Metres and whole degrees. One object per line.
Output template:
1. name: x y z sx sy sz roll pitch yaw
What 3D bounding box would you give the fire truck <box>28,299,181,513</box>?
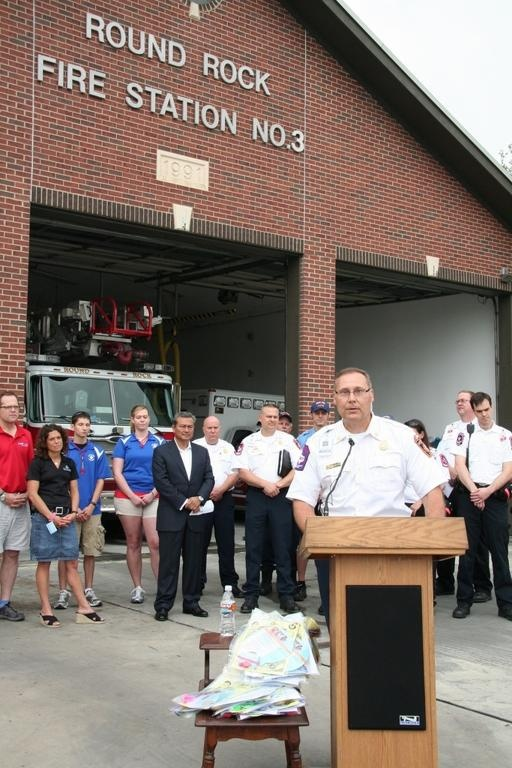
1. fire truck: -3.580 0.234 13.409 2.690 3.520 5.454 2 2 -34

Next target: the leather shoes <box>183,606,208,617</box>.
1. leather shoes: -0.524 1.966 6.300 0.242 0.104 0.083 -3 -4 42

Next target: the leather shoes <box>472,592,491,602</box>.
1. leather shoes: 2.251 2.132 7.178 0.106 0.099 0.274 -4 -9 32

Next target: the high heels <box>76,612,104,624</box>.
1. high heels: -1.354 1.889 5.837 0.225 0.089 0.082 1 -4 -1

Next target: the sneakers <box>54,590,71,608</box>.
1. sneakers: -1.748 1.956 6.544 0.097 0.122 0.269 0 -10 -1

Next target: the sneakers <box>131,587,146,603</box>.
1. sneakers: -1.118 1.990 6.788 0.078 0.090 0.212 1 -10 -2

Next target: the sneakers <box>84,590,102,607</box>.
1. sneakers: -1.494 1.938 6.539 0.090 0.119 0.265 4 -3 -35

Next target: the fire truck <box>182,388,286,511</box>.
1. fire truck: -0.682 0.963 14.981 2.901 1.752 1.625 2 -2 -29
